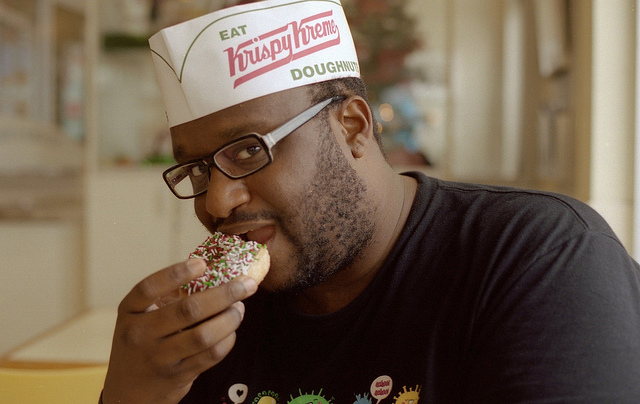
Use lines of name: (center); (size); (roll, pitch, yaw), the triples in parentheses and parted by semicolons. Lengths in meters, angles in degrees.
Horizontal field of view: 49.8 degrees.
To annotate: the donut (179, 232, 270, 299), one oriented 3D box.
donut: (-0.439, 0.302, 3.243); (0.332, 0.117, 0.326); (-7, 46, 39)
